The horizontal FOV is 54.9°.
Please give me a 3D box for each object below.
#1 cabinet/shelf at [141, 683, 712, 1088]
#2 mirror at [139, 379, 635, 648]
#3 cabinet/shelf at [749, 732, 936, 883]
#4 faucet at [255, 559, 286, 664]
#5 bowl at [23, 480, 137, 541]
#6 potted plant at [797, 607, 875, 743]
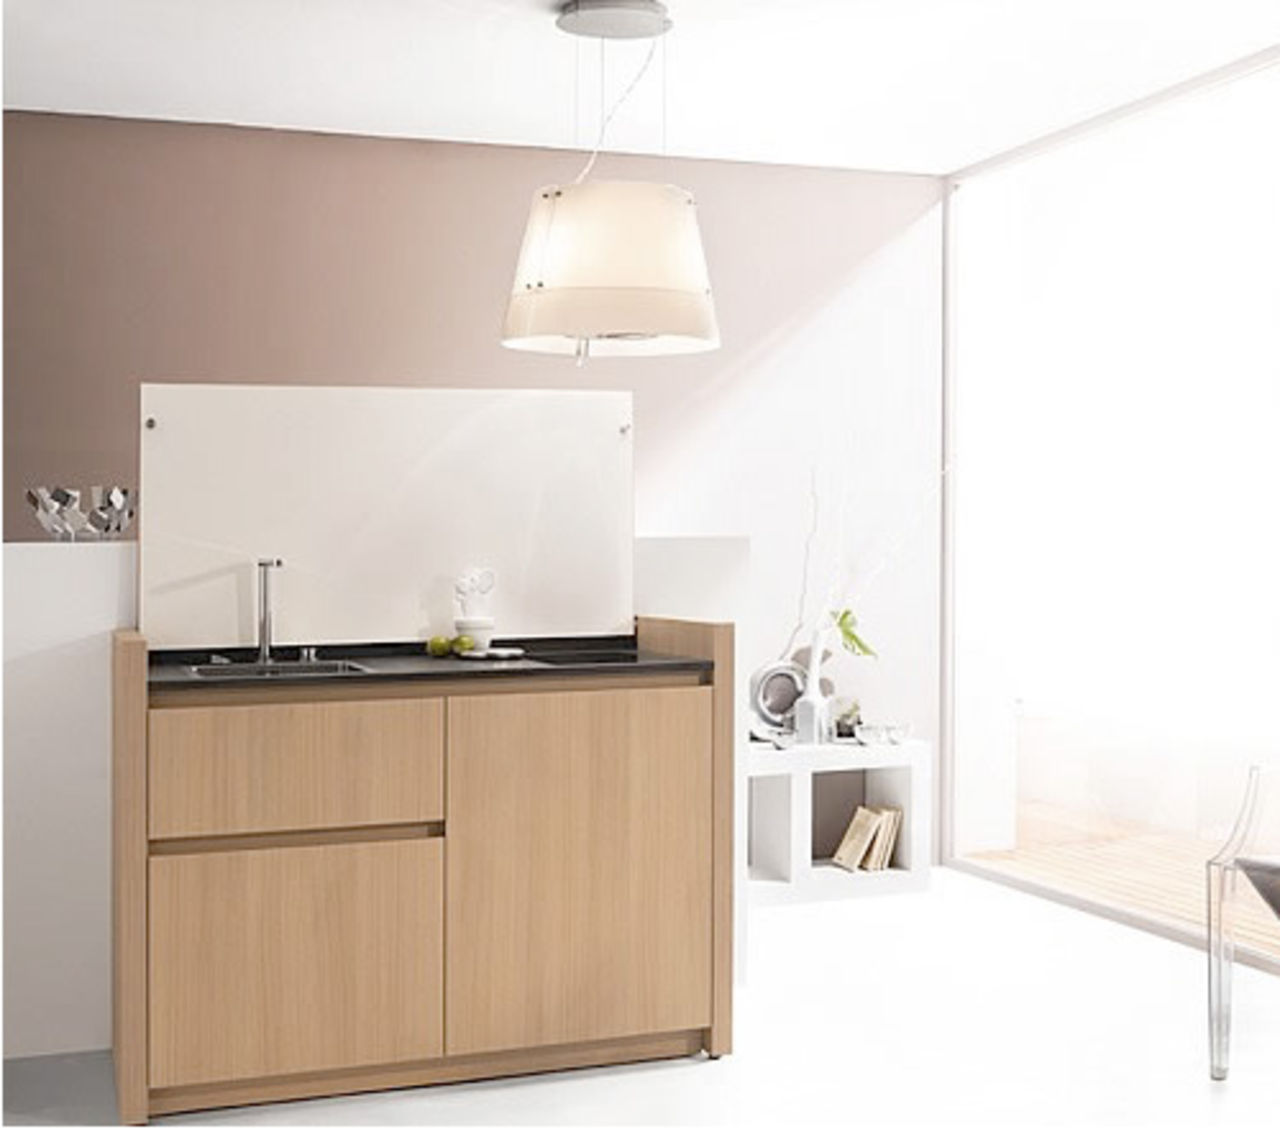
[{"bbox_3d":[-0.552,0.784,3.285,1.448,1.068,0.510,2,-8,-20],"label":"cabinet/shelf"},{"bbox_3d":[-0.679,-0.147,3.534,1.410,0.711,0.055,5,-2,-19],"label":"mirror"},{"bbox_3d":[0.725,1.047,5.038,0.842,0.641,0.449,-1,-7,-7],"label":"cabinet/shelf"},{"bbox_3d":[-1.016,0.128,3.369,0.072,0.281,0.112,4,-2,-17],"label":"faucet"},{"bbox_3d":[-1.554,-0.128,3.413,0.235,0.117,0.242,-1,-4,0],"label":"bowl"},{"bbox_3d":[0.819,0.454,5.111,0.264,0.390,0.460,3,-2,20],"label":"potted plant"}]
